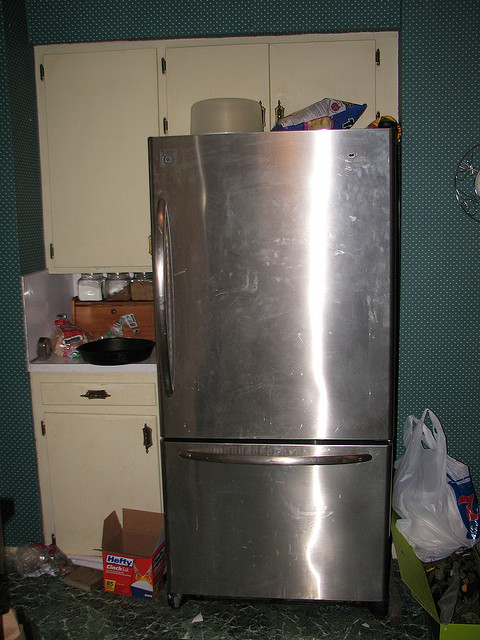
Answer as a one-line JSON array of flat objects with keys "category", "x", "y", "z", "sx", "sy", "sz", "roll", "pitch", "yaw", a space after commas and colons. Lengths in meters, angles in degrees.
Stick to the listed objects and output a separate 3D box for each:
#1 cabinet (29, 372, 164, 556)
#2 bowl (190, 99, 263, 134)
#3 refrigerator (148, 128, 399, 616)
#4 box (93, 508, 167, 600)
[{"category": "cabinet", "x": -0.510, "y": 0.446, "z": 2.242, "sx": 0.449, "sy": 0.740, "sz": 0.397, "roll": 2, "pitch": 13, "yaw": 10}, {"category": "bowl", "x": -0.044, "y": -0.654, "z": 1.819, "sx": 0.235, "sy": 0.108, "sz": 0.191, "roll": -2, "pitch": 13, "yaw": -1}, {"category": "refrigerator", "x": 0.138, "y": 0.081, "z": 1.950, "sx": 0.699, "sy": 1.497, "sz": 0.630, "roll": 1, "pitch": 10, "yaw": 5}, {"category": "box", "x": -0.378, "y": 0.838, "z": 1.994, "sx": 0.179, "sy": 0.327, "sz": 0.226, "roll": 0, "pitch": 11, "yaw": 2}]
